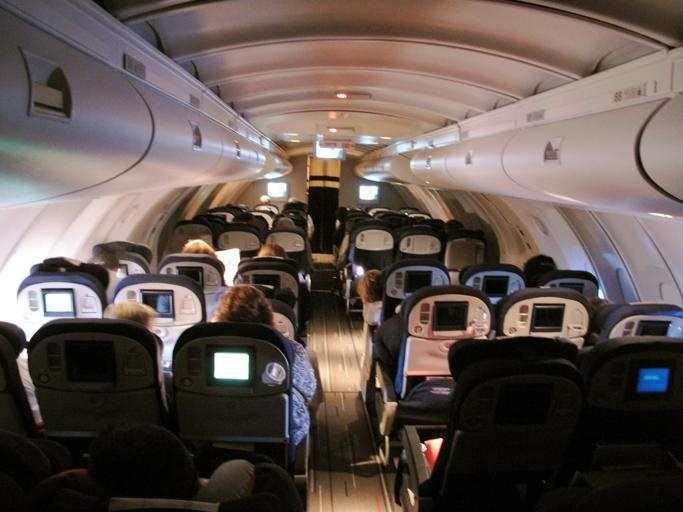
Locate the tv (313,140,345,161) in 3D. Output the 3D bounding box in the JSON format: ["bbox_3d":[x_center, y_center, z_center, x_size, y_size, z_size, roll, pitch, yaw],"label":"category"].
[{"bbox_3d":[-0.259,-2.183,10.737,0.755,0.159,0.654,-3,-46,-6],"label":"tv"}]

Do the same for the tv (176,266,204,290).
[{"bbox_3d":[-1.542,0.212,5.259,0.282,0.227,0.131,1,39,-6],"label":"tv"}]

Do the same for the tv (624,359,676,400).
[{"bbox_3d":[1.880,0.751,3.169,0.306,0.238,0.108,3,-9,-10],"label":"tv"}]

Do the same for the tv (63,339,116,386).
[{"bbox_3d":[-1.585,0.664,3.281,0.303,0.275,0.179,3,-9,-9],"label":"tv"}]

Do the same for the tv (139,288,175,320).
[{"bbox_3d":[-1.618,0.401,4.551,0.324,0.260,0.153,0,14,-6],"label":"tv"}]

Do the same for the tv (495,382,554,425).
[{"bbox_3d":[1.080,0.877,3.084,0.322,0.263,0.143,3,-9,-4],"label":"tv"}]

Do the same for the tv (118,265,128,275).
[{"bbox_3d":[-2.670,0.163,6.328,0.158,0.126,0.105,2,-1,-43],"label":"tv"}]

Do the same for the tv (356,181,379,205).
[{"bbox_3d":[1.054,-2.641,21.779,1.042,0.852,0.242,4,11,-3],"label":"tv"}]

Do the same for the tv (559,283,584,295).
[{"bbox_3d":[2.318,0.326,5.248,0.168,0.131,0.083,0,0,6],"label":"tv"}]

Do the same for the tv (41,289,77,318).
[{"bbox_3d":[-2.552,0.414,4.682,0.305,0.240,0.098,1,8,-4],"label":"tv"}]

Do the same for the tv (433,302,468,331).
[{"bbox_3d":[0.908,0.500,4.413,0.282,0.199,0.135,0,12,-8],"label":"tv"}]

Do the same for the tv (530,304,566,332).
[{"bbox_3d":[1.847,0.536,4.641,0.286,0.221,0.140,0,13,3],"label":"tv"}]

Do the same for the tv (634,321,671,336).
[{"bbox_3d":[2.610,0.598,4.382,0.146,0.112,0.097,4,-2,5],"label":"tv"}]
